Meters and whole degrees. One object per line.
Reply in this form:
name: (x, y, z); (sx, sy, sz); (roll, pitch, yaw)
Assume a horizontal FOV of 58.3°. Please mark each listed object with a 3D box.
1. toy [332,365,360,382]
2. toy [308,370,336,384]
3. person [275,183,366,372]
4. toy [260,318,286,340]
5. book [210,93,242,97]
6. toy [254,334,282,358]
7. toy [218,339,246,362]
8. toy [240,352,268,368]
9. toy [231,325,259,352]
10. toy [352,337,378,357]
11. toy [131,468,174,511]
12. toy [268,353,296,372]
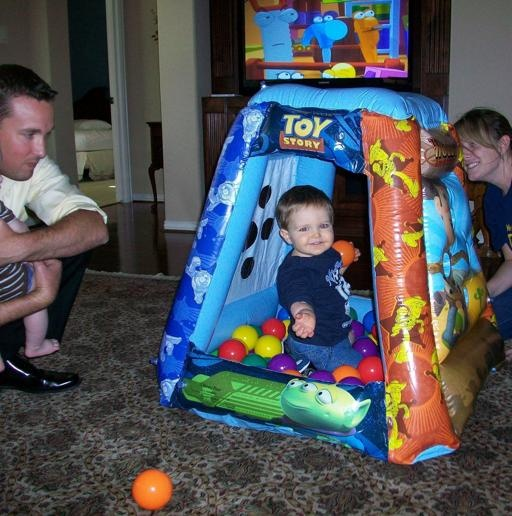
toy: (0.275, 0.355, 1.420); (0.056, 0.050, 0.061); (-28, 10, 6)
toy: (0.197, 0.343, 1.334); (0.057, 0.031, 0.062); (12, 2, -10)
person: (0.207, 0.094, 1.452); (0.275, 0.633, 0.382); (-2, 11, 2)
toy: (0.070, 0.274, 1.846); (0.101, 0.078, 0.085); (-2, -34, 40)
book: (-0.247, -1.402, 3.935); (0.150, 0.031, 0.144); (1, 18, 1)
toy: (0.041, 0.317, 1.690); (0.082, 0.074, 0.095); (-28, -20, 21)
toy: (-0.081, 0.311, 1.575); (0.098, 0.051, 0.156); (-2, 10, -2)
toy: (-0.006, 0.335, 1.500); (0.058, 0.048, 0.070); (4, -3, -21)
toy: (-0.036, 0.287, 1.686); (0.103, 0.082, 0.105); (10, 17, -13)
toy: (0.399, 0.321, 1.702); (0.072, 0.059, 0.080); (-13, 17, -43)
toy: (-0.215, 0.486, 0.956); (0.086, 0.074, 0.087); (15, -35, 3)
toy: (0.076, 0.338, 1.527); (0.064, 0.054, 0.070); (-13, -13, -44)
